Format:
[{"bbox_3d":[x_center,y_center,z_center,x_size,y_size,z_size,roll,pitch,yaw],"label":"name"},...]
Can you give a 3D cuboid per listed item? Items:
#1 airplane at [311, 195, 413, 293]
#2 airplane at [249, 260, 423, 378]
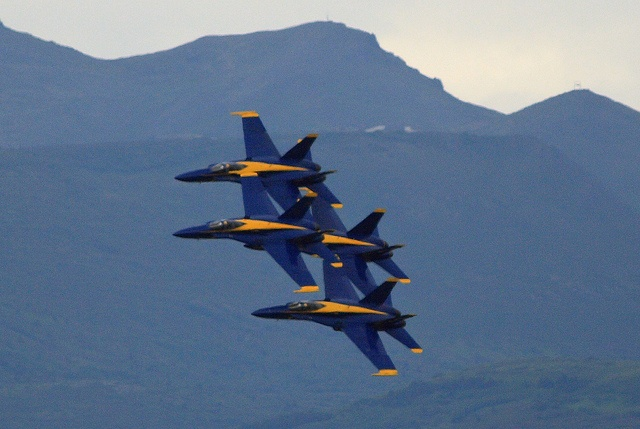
[{"bbox_3d":[9.233,4.444,235.240,16.776,15.207,4.231,-13,-15,-22],"label":"airplane"},{"bbox_3d":[2.724,14.967,227.813,26.095,25.055,6.462,3,-62,-13],"label":"airplane"}]
